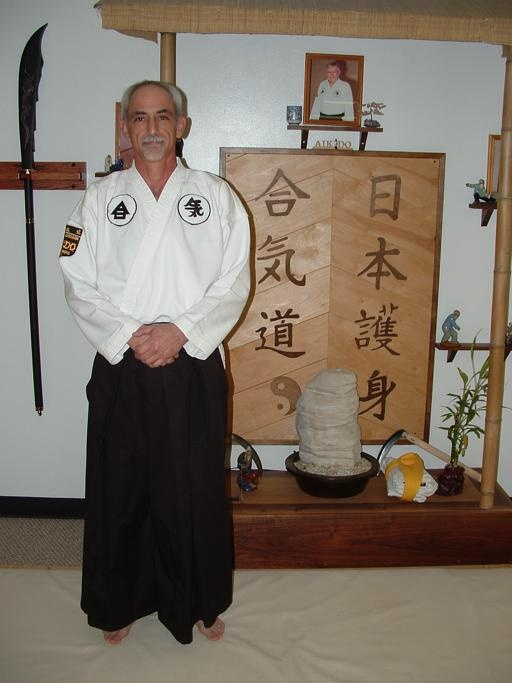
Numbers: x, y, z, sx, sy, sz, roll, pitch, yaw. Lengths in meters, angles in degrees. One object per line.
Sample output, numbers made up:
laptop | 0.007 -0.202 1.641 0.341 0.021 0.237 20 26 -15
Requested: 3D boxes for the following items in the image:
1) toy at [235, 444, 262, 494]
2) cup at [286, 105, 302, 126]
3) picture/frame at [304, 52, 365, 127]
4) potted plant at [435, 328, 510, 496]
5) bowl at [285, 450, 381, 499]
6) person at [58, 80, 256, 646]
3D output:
toy | -0.012 0.519 2.522 0.111 0.184 0.100 -4 12 3
cup | 0.156 -0.918 2.489 0.059 0.079 0.055 1 10 0
picture/frame | 0.313 -1.027 2.497 0.335 0.343 0.026 3 -1 -6
potted plant | 0.958 0.268 2.659 0.284 0.667 0.533 4 11 17
bowl | 0.317 0.557 2.480 0.380 0.123 0.256 0 10 -4
person | -0.313 0.164 1.863 0.564 1.437 0.355 1 11 -2
